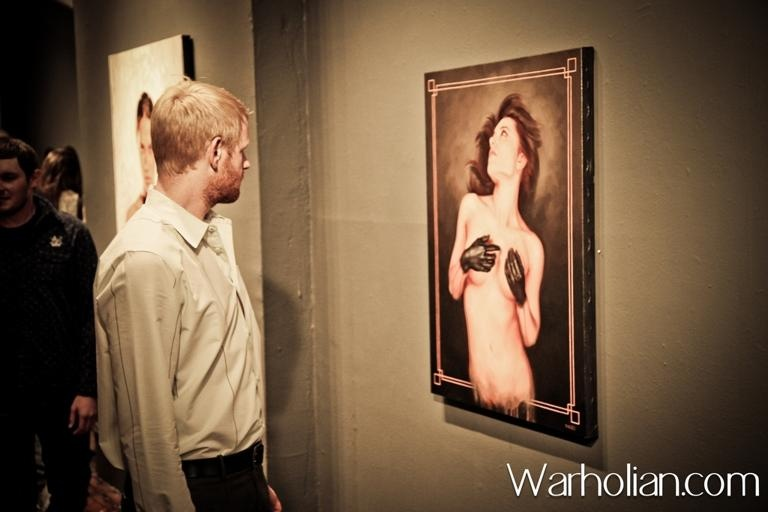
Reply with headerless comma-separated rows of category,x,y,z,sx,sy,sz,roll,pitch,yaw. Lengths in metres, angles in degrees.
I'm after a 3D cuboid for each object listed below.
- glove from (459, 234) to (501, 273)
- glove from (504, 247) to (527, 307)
glove,0.326,-0.001,2.543,0.031,0.122,0.112,4,-30,-46
glove,0.437,0.066,2.475,0.058,0.186,0.044,0,6,33
